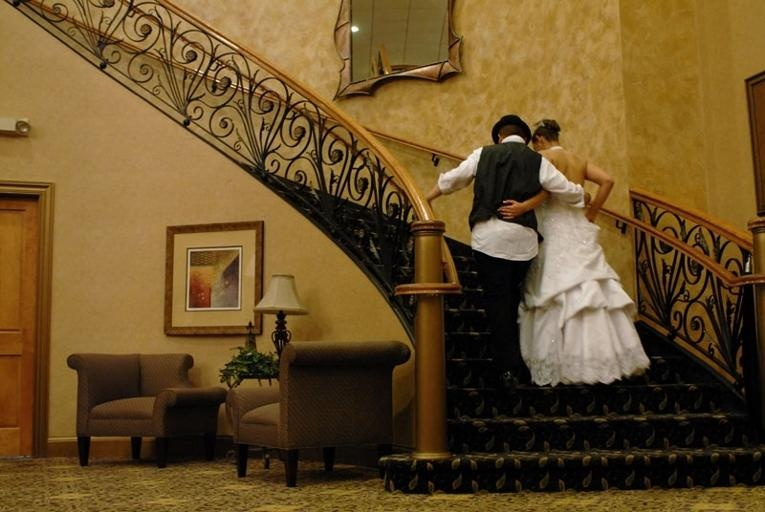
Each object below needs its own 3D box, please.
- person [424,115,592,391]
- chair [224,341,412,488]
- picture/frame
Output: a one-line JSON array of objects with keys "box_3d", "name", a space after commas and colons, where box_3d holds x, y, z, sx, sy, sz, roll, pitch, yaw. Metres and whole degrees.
[{"box_3d": [1.044, -0.068, 6.603, 1.138, 2.340, 0.359, 1, -4, -9], "name": "person"}, {"box_3d": [-0.566, 1.332, 7.200, 1.339, 1.257, 1.402, 10, -16, -37], "name": "chair"}, {"box_3d": [-1.835, 0.295, 8.676, 1.175, 1.338, 0.089, 0, -3, 4], "name": "picture/frame"}]
